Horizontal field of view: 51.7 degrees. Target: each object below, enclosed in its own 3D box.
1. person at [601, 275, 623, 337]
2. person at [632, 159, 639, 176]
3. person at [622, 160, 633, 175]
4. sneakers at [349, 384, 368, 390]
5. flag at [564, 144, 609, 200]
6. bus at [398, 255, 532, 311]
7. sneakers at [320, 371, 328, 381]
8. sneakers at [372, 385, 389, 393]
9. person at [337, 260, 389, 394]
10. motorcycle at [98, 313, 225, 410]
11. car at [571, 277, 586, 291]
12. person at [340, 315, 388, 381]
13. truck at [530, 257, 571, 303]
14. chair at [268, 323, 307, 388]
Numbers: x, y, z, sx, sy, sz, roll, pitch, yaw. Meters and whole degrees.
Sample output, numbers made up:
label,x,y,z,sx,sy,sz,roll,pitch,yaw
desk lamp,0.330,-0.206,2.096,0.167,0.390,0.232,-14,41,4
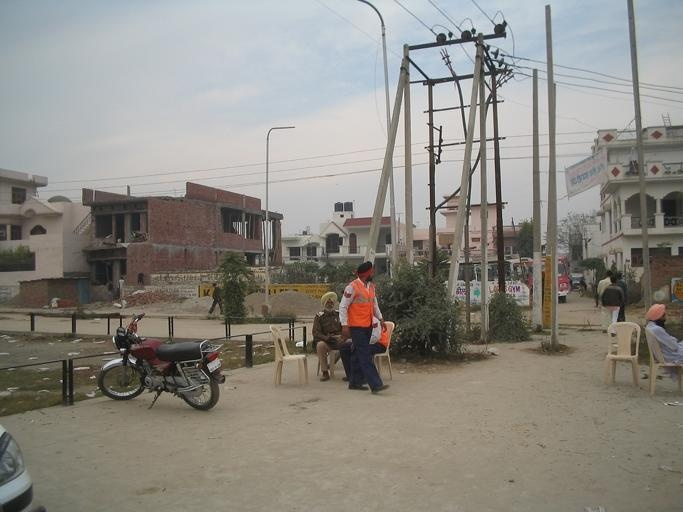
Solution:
label,x,y,z,sx,sy,sz,roll,pitch,yaw
person,7.953,1.337,20.632,0.518,1.749,0.530,7,20,24
person,16.811,-5.108,40.200,0.373,0.831,0.716,3,5,35
person,16.556,-5.055,40.098,1.183,0.761,0.462,-3,5,-32
sneakers,0.338,2.542,13.845,0.360,0.180,0.133,0,-3,1
flag,6.554,-2.233,18.669,0.393,1.155,1.645,-2,5,-16
bus,7.114,1.271,39.486,6.472,3.362,2.725,1,14,13
sneakers,-0.341,2.490,14.826,0.198,0.181,0.246,-1,4,-1
sneakers,0.750,2.512,13.445,0.325,0.170,0.270,0,4,7
person,0.421,1.394,13.875,0.813,2.535,0.938,3,-4,-1
motorcycle,-3.397,1.972,13.138,2.610,1.764,1.117,1,16,23
car,21.013,2.362,61.935,1.033,1.025,1.936,-2,-9,16
person,0.546,1.893,14.482,1.188,1.785,0.938,1,-3,-15
truck,13.714,1.323,44.994,1.992,2.624,4.295,-9,2,25
chair,-1.080,2.043,14.688,0.703,1.274,0.664,-4,-2,-2
